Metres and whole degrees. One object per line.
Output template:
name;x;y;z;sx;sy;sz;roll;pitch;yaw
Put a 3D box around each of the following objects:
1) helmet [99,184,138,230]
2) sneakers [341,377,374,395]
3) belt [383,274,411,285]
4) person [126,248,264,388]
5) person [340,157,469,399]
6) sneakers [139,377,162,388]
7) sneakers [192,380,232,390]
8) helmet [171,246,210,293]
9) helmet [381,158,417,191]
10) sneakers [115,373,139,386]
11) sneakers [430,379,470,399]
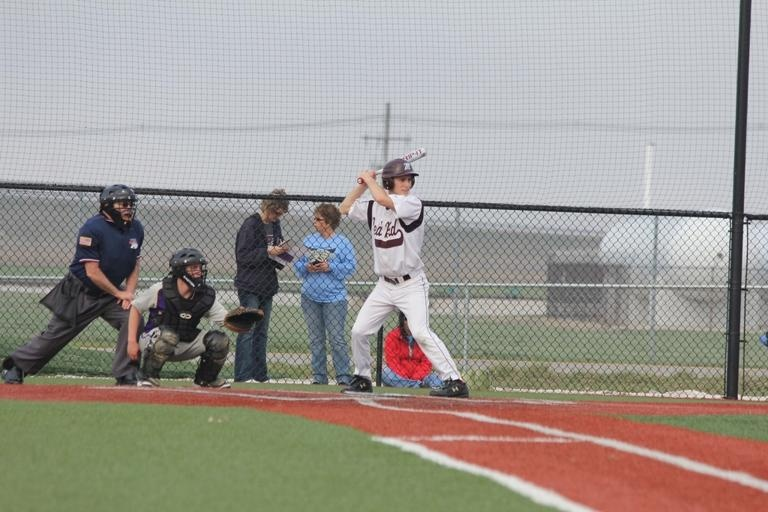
helmet;-3.004;-0.557;11.173;0.408;0.498;0.278;1;5;-19
sneakers;-0.292;1.439;10.940;0.378;0.170;0.142;2;-4;-5
belt;0.130;0.257;10.818;0.301;0.113;0.048;5;5;19
person;-2.073;0.683;10.978;1.413;1.600;1.102;1;-7;-2
person;0.171;0.230;10.949;1.521;2.617;0.772;4;4;14
sneakers;-2.620;1.409;10.996;0.115;0.149;0.314;3;-4;-43
sneakers;-1.936;1.436;11.076;0.336;0.127;0.138;-1;-3;7
helmet;-2.162;0.108;10.895;0.422;0.426;0.360;0;4;14
helmet;0.152;-0.925;11.104;0.423;0.365;0.359;6;10;26
sneakers;-2.882;1.391;11.135;0.264;0.120;0.122;-5;-3;25
sneakers;0.735;1.435;10.679;0.477;0.221;0.168;2;-3;6
